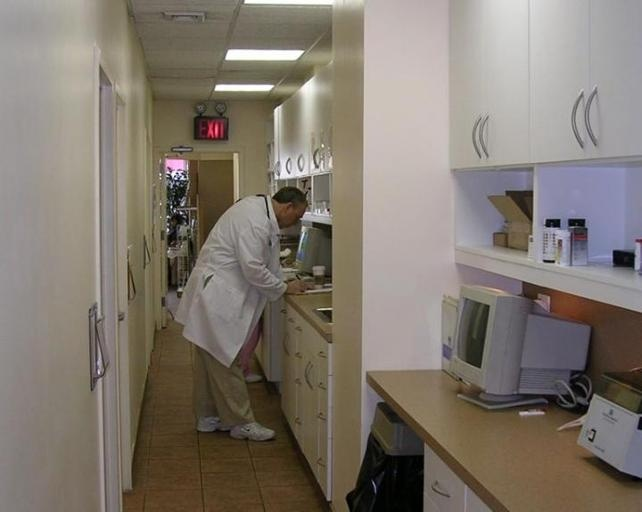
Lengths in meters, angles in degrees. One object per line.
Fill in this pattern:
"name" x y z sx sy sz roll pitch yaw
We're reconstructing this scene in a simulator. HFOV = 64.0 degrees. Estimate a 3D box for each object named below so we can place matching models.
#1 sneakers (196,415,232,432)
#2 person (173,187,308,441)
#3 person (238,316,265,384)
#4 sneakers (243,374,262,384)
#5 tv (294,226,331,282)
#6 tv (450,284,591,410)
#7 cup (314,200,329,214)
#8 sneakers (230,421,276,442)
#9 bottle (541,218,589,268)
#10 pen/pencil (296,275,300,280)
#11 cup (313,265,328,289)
"sneakers" -0.908 1.381 4.262 0.179 0.067 0.155 4 -1 -8
"person" -0.645 0.448 4.241 0.970 2.121 0.778 3 10 -18
"person" -0.643 0.848 4.679 0.233 0.832 0.224 -9 49 -12
"sneakers" -0.717 1.280 5.419 0.142 0.078 0.081 -1 9 -11
"tv" -0.116 -0.060 5.206 0.356 0.679 0.727 1 2 -6
"tv" 0.794 0.349 2.165 0.402 0.492 0.435 3 2 -10
"cup" -0.002 -0.435 4.526 0.114 0.107 0.127 0 2 -17
"sneakers" -0.553 1.401 4.090 0.249 0.128 0.158 1 -1 3
"bottle" 0.795 -0.039 1.668 0.142 0.172 0.139 3 6 31
"pen/pencil" -0.229 0.203 4.993 0.029 0.032 0.008 -5 -27 17
"cup" -0.001 0.168 4.412 0.138 0.225 0.141 0 -2 0
